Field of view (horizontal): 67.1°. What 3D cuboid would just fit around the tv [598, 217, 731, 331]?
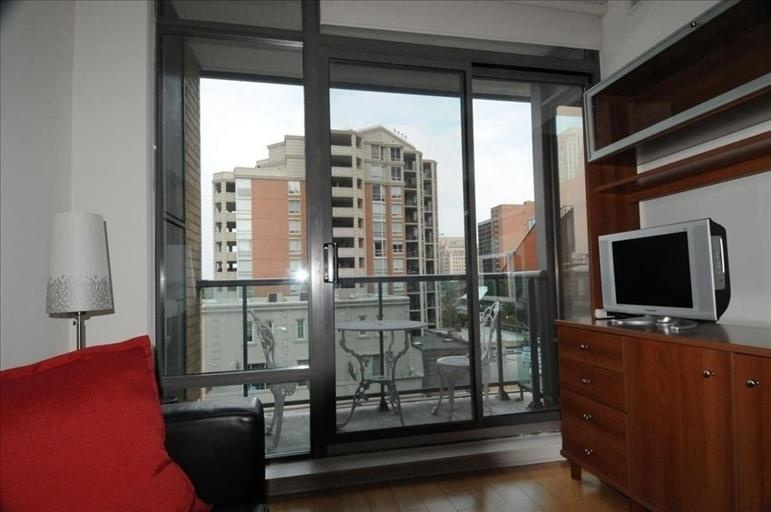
[{"bbox_3d":[1.639,0.121,3.389,0.313,0.520,0.639,3,-9,-34],"label":"tv"}]
